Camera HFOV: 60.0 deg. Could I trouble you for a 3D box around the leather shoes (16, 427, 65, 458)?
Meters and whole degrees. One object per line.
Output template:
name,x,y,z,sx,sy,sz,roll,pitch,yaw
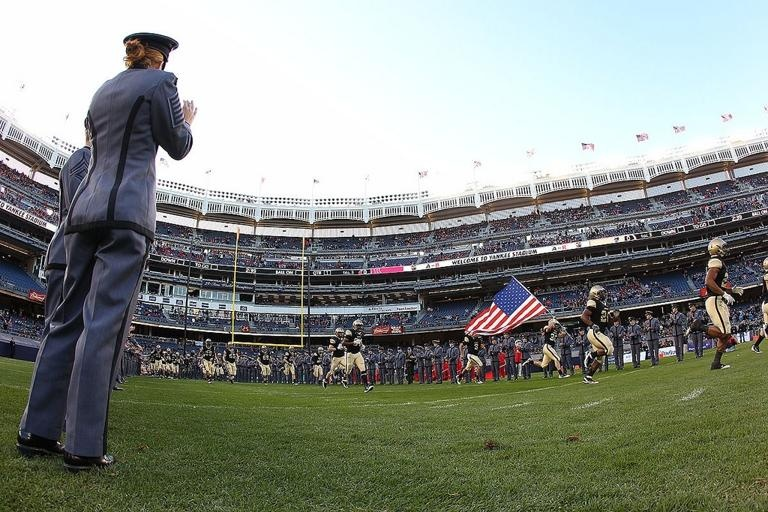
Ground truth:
leather shoes,-3.205,1.762,6.281,0.461,0.205,0.190,14,-11,-26

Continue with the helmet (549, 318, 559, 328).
helmet,5.122,2.022,20.110,0.323,0.164,0.443,3,0,38

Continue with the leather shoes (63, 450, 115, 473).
leather shoes,-2.691,1.856,6.039,0.477,0.186,0.167,6,-6,-27

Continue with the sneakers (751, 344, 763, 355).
sneakers,7.864,1.985,14.088,0.152,0.173,0.416,-8,-18,18

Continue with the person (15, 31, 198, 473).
person,-2.665,0.036,6.470,1.301,3.893,0.619,-10,-18,30

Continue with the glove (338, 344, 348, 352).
glove,-1.256,2.743,19.910,0.261,0.125,0.331,6,-6,-4

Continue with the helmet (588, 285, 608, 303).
helmet,4.504,0.826,14.324,0.457,0.433,0.357,-13,-11,32

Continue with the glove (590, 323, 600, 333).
glove,4.674,1.602,14.779,0.279,0.103,0.201,-5,27,-35

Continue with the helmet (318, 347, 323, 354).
helmet,-2.509,3.825,26.797,0.204,0.244,0.246,-8,14,-2
